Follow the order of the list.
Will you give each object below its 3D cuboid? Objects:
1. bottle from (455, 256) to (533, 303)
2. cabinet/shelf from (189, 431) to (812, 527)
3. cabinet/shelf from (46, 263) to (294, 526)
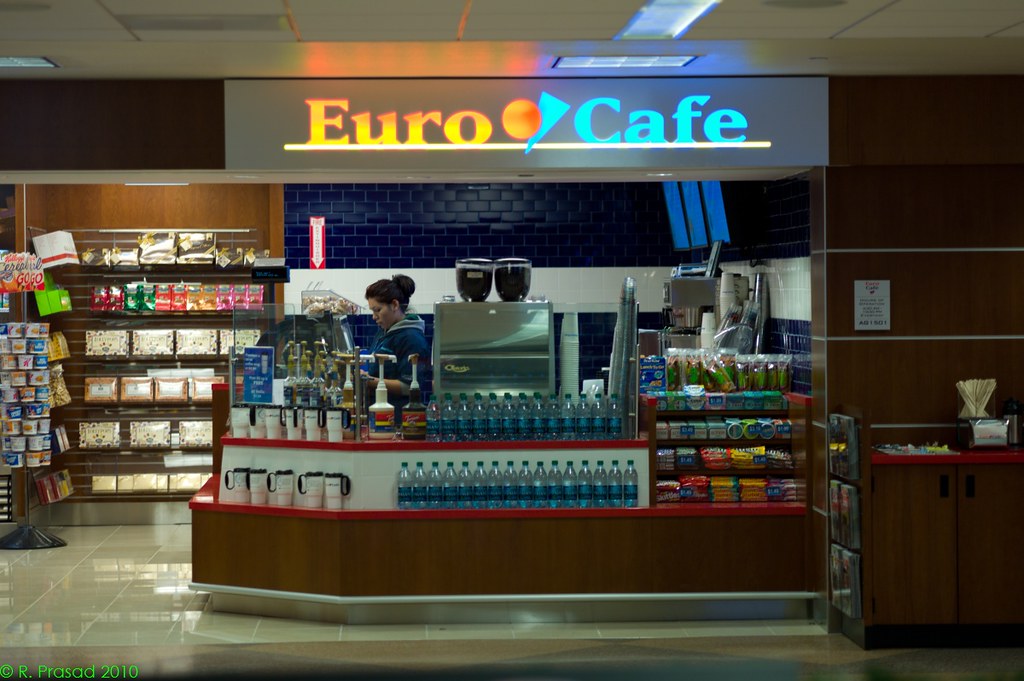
[{"bbox_3d":[-0.143,-0.468,7.131,0.550,0.317,0.273,-1,6,-4],"label":"bottle"},{"bbox_3d":[-0.446,1.020,7.009,3.800,0.545,0.317,0,5,3],"label":"cabinet/shelf"},{"bbox_3d":[-3.423,0.512,8.994,2.956,2.654,0.918,0,2,2],"label":"cabinet/shelf"}]
